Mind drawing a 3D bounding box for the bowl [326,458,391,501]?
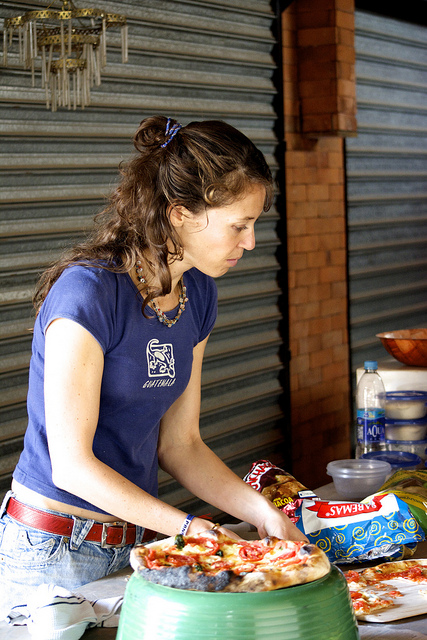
[{"bbox_3d":[0.431,0.489,1.596,0.192,0.097,0.178,9,-25,4],"label":"bowl"}]

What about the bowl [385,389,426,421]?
[{"bbox_3d":[0.692,0.313,1.972,0.112,0.061,0.106,0,-2,0],"label":"bowl"}]

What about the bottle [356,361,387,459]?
[{"bbox_3d":[0.577,0.315,1.997,0.111,0.309,0.263,-4,2,17],"label":"bottle"}]

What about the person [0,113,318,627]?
[{"bbox_3d":[-0.123,0.083,1.109,0.532,0.811,0.507,-5,2,-42],"label":"person"}]

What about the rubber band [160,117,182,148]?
[{"bbox_3d":[-0.084,-0.382,1.100,0.019,0.039,0.062,-32,26,-11],"label":"rubber band"}]

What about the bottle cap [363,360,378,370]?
[{"bbox_3d":[0.604,0.167,2.094,0.048,0.023,0.049,1,0,43],"label":"bottle cap"}]

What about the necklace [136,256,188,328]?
[{"bbox_3d":[-0.111,-0.054,1.103,0.021,0.128,0.106,-13,8,37],"label":"necklace"}]
